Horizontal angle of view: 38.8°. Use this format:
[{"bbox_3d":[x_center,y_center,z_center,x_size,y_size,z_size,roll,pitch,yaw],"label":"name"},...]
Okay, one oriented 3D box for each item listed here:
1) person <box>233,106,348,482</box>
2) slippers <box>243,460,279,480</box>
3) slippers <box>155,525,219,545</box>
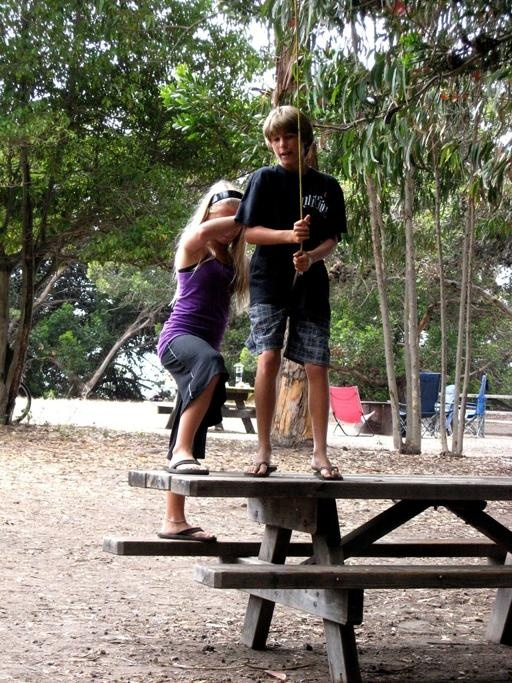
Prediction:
[{"bbox_3d":[0.155,-0.214,2.758,0.475,1.412,0.592,3,-1,-14],"label":"person"},{"bbox_3d":[0.030,0.470,2.587,0.141,0.049,0.044,2,-3,-21],"label":"slippers"},{"bbox_3d":[-0.259,0.741,2.765,0.212,0.052,0.079,-1,-4,2],"label":"slippers"}]
